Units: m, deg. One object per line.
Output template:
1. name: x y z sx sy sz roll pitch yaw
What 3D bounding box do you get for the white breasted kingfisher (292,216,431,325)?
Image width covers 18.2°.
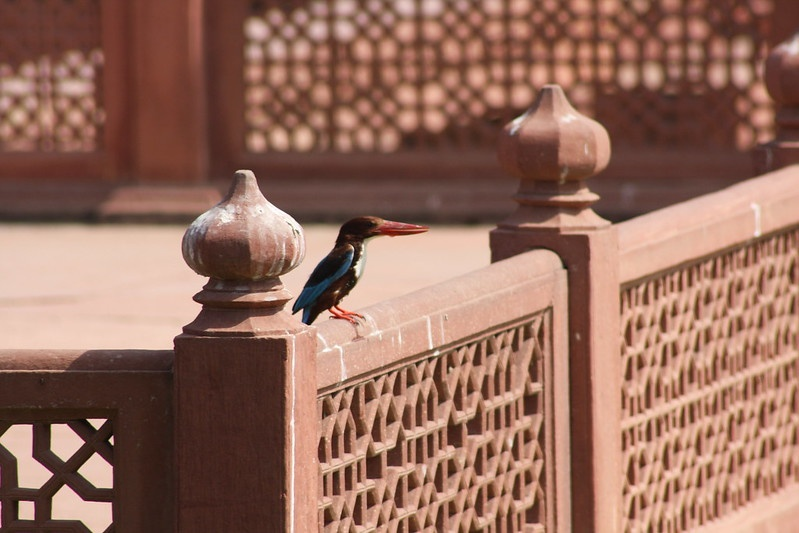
1. white breasted kingfisher: -0.304 0.009 16.748 0.846 0.618 0.241 -17 -30 27
